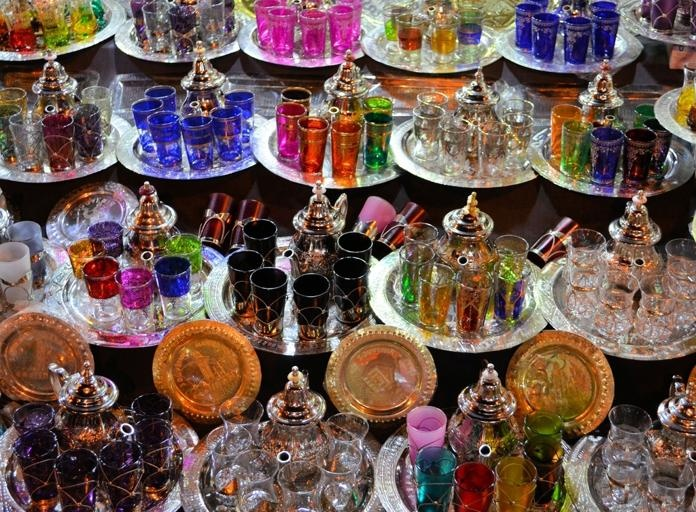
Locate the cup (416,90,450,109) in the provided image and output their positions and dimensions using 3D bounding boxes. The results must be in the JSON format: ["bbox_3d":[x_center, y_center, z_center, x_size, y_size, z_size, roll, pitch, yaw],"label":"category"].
[{"bbox_3d":[0.335,-0.622,2.333,0.102,0.084,0.111,1,39,-1],"label":"cup"}]

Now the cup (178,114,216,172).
[{"bbox_3d":[-0.565,-0.434,2.229,0.112,0.164,0.155,-8,41,-14],"label":"cup"}]

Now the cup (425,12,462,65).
[{"bbox_3d":[0.417,-0.959,2.604,0.120,0.192,0.134,29,51,32],"label":"cup"}]

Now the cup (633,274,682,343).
[{"bbox_3d":[0.928,0.155,1.752,0.141,0.141,0.149,3,40,-2],"label":"cup"}]

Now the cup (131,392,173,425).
[{"bbox_3d":[-0.537,0.409,1.607,0.082,0.067,0.082,7,31,-4],"label":"cup"}]

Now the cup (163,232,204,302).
[{"bbox_3d":[-0.515,0.036,1.828,0.135,0.233,0.150,3,57,-2],"label":"cup"}]

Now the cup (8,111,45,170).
[{"bbox_3d":[-1.199,-0.411,2.214,0.124,0.159,0.127,2,40,-2],"label":"cup"}]

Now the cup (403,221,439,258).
[{"bbox_3d":[0.229,-0.066,1.874,0.099,0.112,0.105,-1,40,0],"label":"cup"}]

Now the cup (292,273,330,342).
[{"bbox_3d":[-0.111,0.148,1.778,0.109,0.176,0.126,0,40,-5],"label":"cup"}]

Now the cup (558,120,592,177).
[{"bbox_3d":[0.820,-0.389,2.134,0.108,0.185,0.113,-3,31,2],"label":"cup"}]

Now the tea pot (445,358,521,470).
[{"bbox_3d":[0.330,0.403,1.617,0.171,0.281,0.274,-1,44,1],"label":"tea pot"}]

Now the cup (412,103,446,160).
[{"bbox_3d":[0.304,-0.469,2.224,0.141,0.240,0.150,1,37,-1],"label":"cup"}]

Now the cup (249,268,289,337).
[{"bbox_3d":[-0.238,0.134,1.770,0.106,0.194,0.115,2,39,-2],"label":"cup"}]

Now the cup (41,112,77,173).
[{"bbox_3d":[-1.101,-0.452,2.258,0.125,0.155,0.222,-16,44,-22],"label":"cup"}]

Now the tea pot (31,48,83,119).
[{"bbox_3d":[-1.163,-0.673,2.304,0.183,0.196,0.186,2,40,-2],"label":"tea pot"}]

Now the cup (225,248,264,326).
[{"bbox_3d":[-0.309,0.095,1.776,0.132,0.229,0.140,1,38,-1],"label":"cup"}]

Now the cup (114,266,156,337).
[{"bbox_3d":[-0.639,0.135,1.764,0.102,0.168,0.099,3,39,-3],"label":"cup"}]

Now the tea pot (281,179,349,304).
[{"bbox_3d":[-0.102,-0.039,1.867,0.157,0.365,0.287,28,47,28],"label":"tea pot"}]

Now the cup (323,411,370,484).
[{"bbox_3d":[0.009,0.495,1.571,0.131,0.206,0.147,7,38,7],"label":"cup"}]

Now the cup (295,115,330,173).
[{"bbox_3d":[-0.134,-0.417,2.199,0.108,0.181,0.168,-1,40,-5],"label":"cup"}]

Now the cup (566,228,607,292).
[{"bbox_3d":[0.736,0.016,1.835,0.091,0.155,0.096,-5,38,4],"label":"cup"}]

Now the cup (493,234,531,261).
[{"bbox_3d":[0.516,-0.027,1.859,0.088,0.037,0.082,-1,43,1],"label":"cup"}]

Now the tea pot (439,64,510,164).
[{"bbox_3d":[0.481,-0.537,2.260,0.245,0.384,0.276,19,43,24],"label":"tea pot"}]

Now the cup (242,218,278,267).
[{"bbox_3d":[-0.279,-0.042,1.844,0.087,0.146,0.090,1,46,-1],"label":"cup"}]

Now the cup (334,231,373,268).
[{"bbox_3d":[0.016,-0.038,1.830,0.091,0.076,0.102,1,44,-3],"label":"cup"}]

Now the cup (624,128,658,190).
[{"bbox_3d":[1.027,-0.342,2.077,0.110,0.184,0.113,-7,39,6],"label":"cup"}]

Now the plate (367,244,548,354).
[{"bbox_3d":[0.363,0.171,1.751,0.370,0.044,0.370,-16,46,-16],"label":"plate"}]

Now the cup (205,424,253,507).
[{"bbox_3d":[-0.305,0.551,1.528,0.132,0.220,0.134,2,31,-1],"label":"cup"}]

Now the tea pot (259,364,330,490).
[{"bbox_3d":[-0.089,0.427,1.533,0.172,0.271,0.261,2,36,-1],"label":"tea pot"}]

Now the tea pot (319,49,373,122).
[{"bbox_3d":[-0.014,-0.656,2.280,0.180,0.235,0.140,3,39,-1],"label":"tea pot"}]

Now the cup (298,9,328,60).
[{"bbox_3d":[-0.159,-1.020,2.669,0.121,0.158,0.228,2,41,-3],"label":"cup"}]

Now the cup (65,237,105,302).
[{"bbox_3d":[-0.829,0.042,1.886,0.112,0.134,0.138,4,44,-5],"label":"cup"}]

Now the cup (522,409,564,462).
[{"bbox_3d":[0.507,0.491,1.591,0.086,0.121,0.117,-3,39,9],"label":"cup"}]

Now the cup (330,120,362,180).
[{"bbox_3d":[-0.012,-0.392,2.165,0.116,0.196,0.125,1,40,-1],"label":"cup"}]

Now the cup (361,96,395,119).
[{"bbox_3d":[0.114,-0.595,2.312,0.095,0.077,0.102,2,43,-2],"label":"cup"}]

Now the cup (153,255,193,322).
[{"bbox_3d":[-0.531,0.094,1.813,0.105,0.175,0.115,2,39,-2],"label":"cup"}]

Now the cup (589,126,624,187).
[{"bbox_3d":[0.908,-0.356,2.096,0.109,0.177,0.107,-7,41,7],"label":"cup"}]
